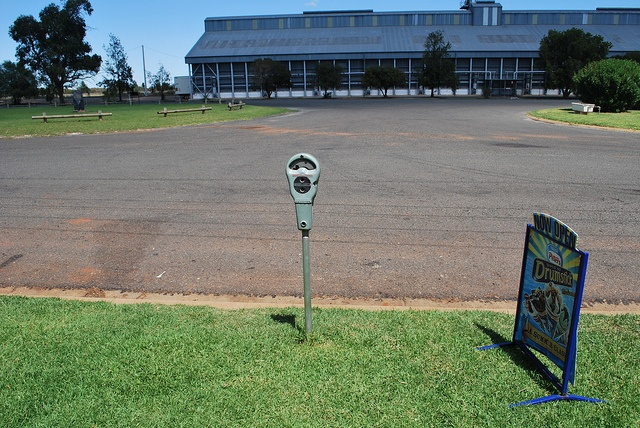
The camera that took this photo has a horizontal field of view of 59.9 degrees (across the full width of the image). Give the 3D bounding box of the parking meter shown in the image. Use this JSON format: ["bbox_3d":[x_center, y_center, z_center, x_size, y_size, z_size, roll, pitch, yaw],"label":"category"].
[{"bbox_3d":[-0.218,0.405,8.102,0.447,2.626,0.664,-3,14,-3],"label":"parking meter"}]
